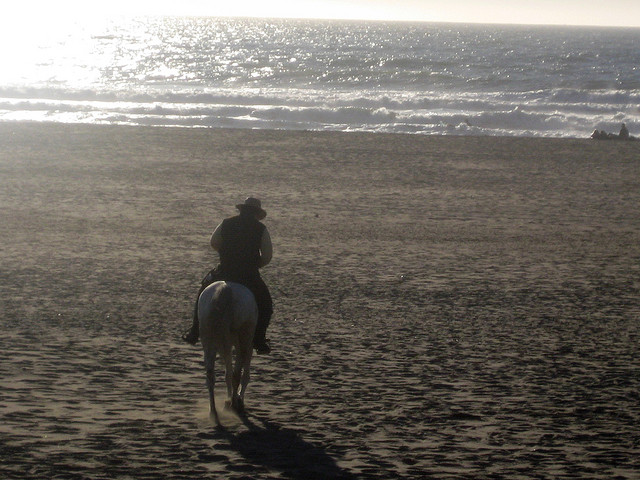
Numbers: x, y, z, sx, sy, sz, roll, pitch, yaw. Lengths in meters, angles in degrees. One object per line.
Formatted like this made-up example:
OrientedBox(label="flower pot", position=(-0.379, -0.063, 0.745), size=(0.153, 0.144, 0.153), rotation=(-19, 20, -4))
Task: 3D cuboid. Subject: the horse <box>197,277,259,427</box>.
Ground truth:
OrientedBox(label="horse", position=(-2.648, 3.057, 40.071), size=(1.540, 3.815, 1.650), rotation=(6, 18, 2))
